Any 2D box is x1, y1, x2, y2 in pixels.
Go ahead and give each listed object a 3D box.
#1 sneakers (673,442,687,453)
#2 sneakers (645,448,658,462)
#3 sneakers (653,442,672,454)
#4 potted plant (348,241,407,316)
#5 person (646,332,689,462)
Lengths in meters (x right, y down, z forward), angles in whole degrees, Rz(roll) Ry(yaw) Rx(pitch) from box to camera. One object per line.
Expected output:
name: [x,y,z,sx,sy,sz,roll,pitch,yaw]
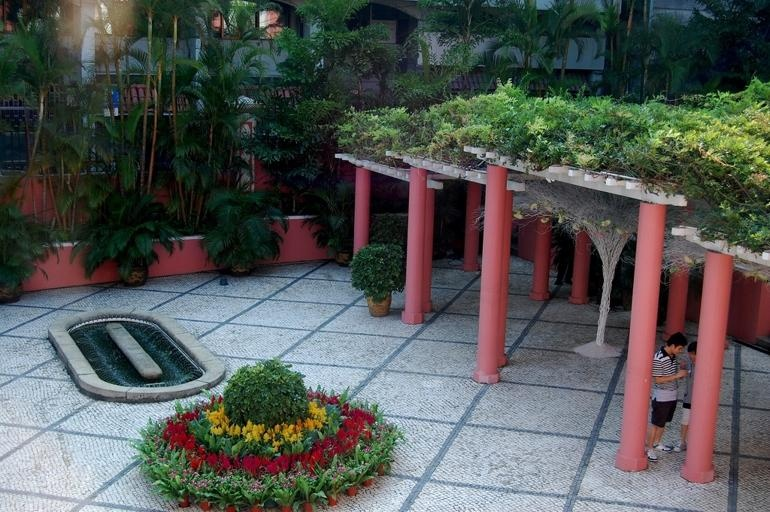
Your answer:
sneakers: [3.774,2.418,7.109,0.066,0.080,0.189,13,30,40]
sneakers: [3.314,2.458,6.976,0.097,0.101,0.248,-6,5,-3]
sneakers: [3.519,2.426,7.079,0.214,0.096,0.094,-2,18,-3]
potted plant: [-0.053,0.524,11.472,1.336,1.450,1.313,-1,-15,5]
person: [3.482,1.741,6.924,0.381,1.517,0.727,9,20,30]
